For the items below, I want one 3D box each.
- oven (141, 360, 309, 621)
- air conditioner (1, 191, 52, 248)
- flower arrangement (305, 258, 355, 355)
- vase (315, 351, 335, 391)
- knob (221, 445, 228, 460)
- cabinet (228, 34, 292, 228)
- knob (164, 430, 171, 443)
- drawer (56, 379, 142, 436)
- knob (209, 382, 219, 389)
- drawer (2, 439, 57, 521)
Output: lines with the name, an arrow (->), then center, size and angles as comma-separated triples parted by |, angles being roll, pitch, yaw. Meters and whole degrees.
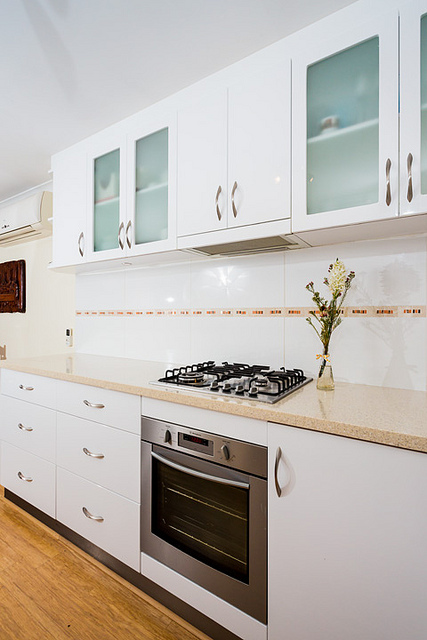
oven -> 0.050, 0.613, 1.778 | 0.609, 0.854, 0.537 | 10, 14, 40
air conditioner -> -1.353, -0.754, 3.259 | 0.287, 0.312, 0.665 | -3, 5, -40
flower arrangement -> 0.445, -0.028, 1.740 | 0.135, 0.414, 0.169 | 10, 18, 30
vase -> 0.424, 0.186, 1.681 | 0.067, 0.141, 0.082 | 1, 4, 15
knob -> 0.039, 0.435, 1.470 | 0.025, 0.047, 0.010 | 2, 4, 23
cabinet -> 0.201, -0.669, 1.726 | 0.218, 0.672, 0.203 | 4, 5, 39
knob -> -0.167, 0.424, 1.630 | 0.022, 0.045, 0.009 | 1, 4, 9
drawer -> -0.493, 0.363, 1.868 | 0.232, 0.063, 0.231 | 4, 0, 33
knob -> 0.007, 0.236, 1.623 | 0.039, 0.020, 0.040 | -1, 4, -18
drawer -> -0.953, 0.822, 2.322 | 0.251, 0.352, 0.333 | 2, 1, -44
